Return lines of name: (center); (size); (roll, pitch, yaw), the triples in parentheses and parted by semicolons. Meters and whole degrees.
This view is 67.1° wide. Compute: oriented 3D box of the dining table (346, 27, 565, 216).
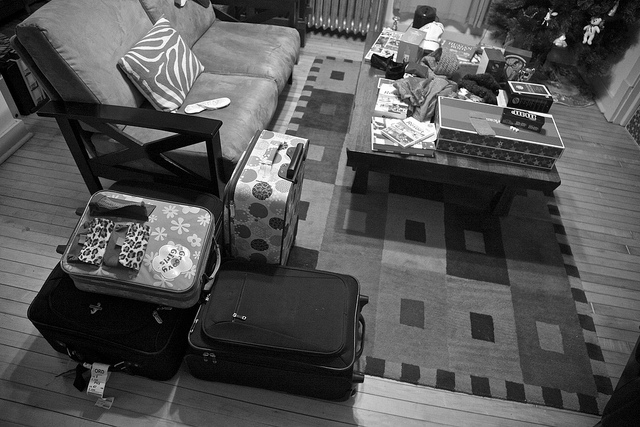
dining table: (0.976, -0.748, 3.729); (1.428, 0.892, 1.356); (9, 37, 2)

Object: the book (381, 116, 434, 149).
book: (0.594, -0.565, 3.331); (0.335, 0.040, 0.363); (21, 51, 14)

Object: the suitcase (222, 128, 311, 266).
suitcase: (-0.342, -0.091, 2.871); (0.408, 0.665, 0.571); (12, 49, 1)

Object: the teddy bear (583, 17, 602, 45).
teddy bear: (2.350, -1.590, 4.202); (0.132, 0.224, 0.242); (24, 40, 19)

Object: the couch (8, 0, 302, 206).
couch: (-1.154, -0.699, 3.205); (0.966, 0.860, 1.550); (10, 55, 3)

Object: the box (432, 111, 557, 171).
box: (1.182, -0.405, 3.288); (0.810, 0.092, 0.039); (10, 38, 4)

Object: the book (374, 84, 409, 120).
book: (0.507, -0.783, 3.513); (0.236, 0.066, 0.322); (7, 49, 9)

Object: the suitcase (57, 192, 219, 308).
suitcase: (-0.985, 0.177, 2.604); (0.874, 0.300, 0.527); (7, 68, 0)

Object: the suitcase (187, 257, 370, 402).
suitcase: (-0.279, 0.640, 2.730); (0.998, 0.477, 0.616); (7, 65, 1)
